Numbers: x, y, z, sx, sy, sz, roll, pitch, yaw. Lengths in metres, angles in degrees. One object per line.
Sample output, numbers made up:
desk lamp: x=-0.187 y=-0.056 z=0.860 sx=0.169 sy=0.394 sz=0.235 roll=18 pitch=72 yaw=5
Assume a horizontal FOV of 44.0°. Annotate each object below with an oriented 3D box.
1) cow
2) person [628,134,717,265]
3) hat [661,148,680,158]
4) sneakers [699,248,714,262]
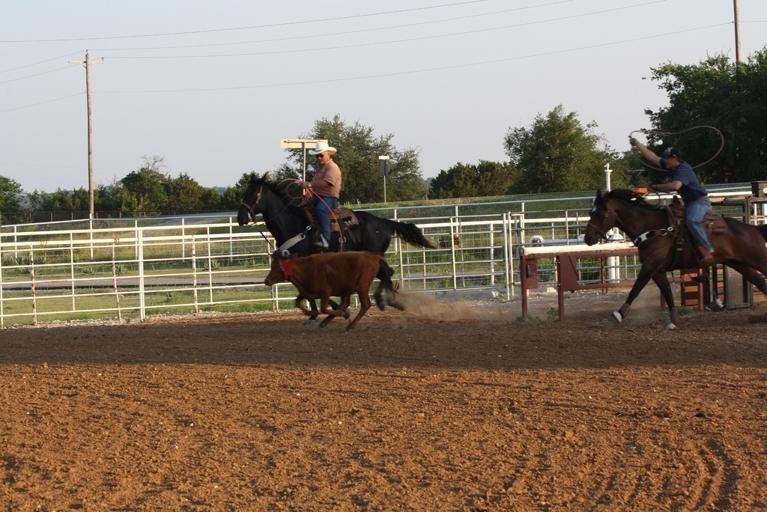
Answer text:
cow: x=-1.007 y=0.592 z=16.238 sx=2.433 sy=1.231 sz=0.661 roll=0 pitch=0 yaw=-30
person: x=5.048 y=-0.950 z=16.391 sx=1.293 sy=2.235 sz=1.099 roll=6 pitch=16 yaw=31
hat: x=4.918 y=-1.780 z=16.312 sx=0.270 sy=0.134 sz=0.178 roll=6 pitch=8 yaw=11
sneakers: x=5.507 y=-0.018 z=16.222 sx=0.291 sy=0.312 sz=0.094 roll=-7 pitch=15 yaw=-19
